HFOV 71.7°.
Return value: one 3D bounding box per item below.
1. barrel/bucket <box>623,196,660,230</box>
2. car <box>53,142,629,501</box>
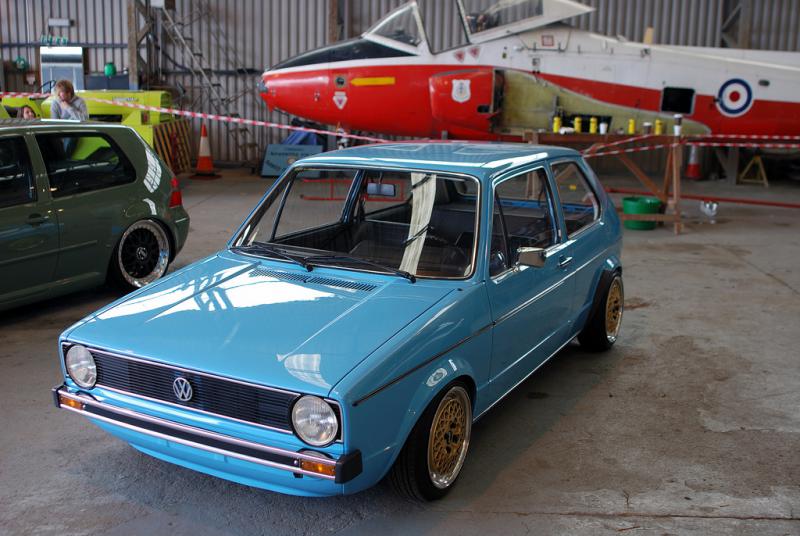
[{"bbox_3d":[4.426,-1.003,10.081,0.662,0.483,0.645,-1,2,0],"label":"barrel/bucket"},{"bbox_3d":[0.136,0.168,4.408,2.588,1.575,4.126,9,16,35],"label":"car"}]
